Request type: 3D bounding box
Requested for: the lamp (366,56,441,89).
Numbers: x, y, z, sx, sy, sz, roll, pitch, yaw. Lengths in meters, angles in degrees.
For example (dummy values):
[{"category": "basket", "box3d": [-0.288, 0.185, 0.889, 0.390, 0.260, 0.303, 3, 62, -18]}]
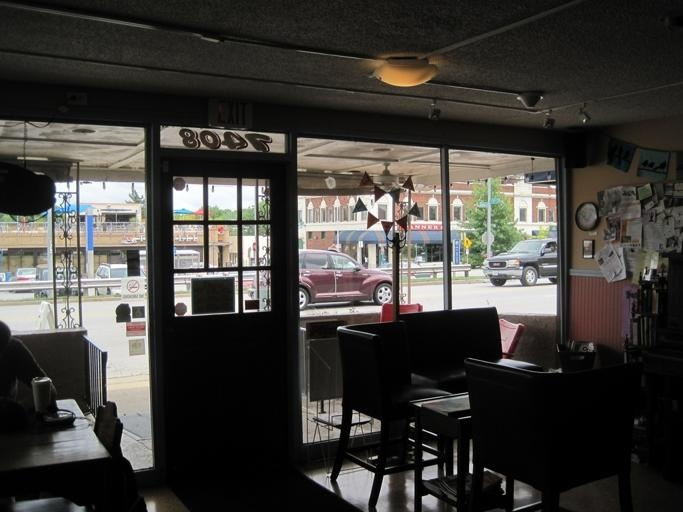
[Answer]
[{"category": "lamp", "box3d": [0.445, -1.300, 3.992, 0.430, 0.176, 0.229, 0, 11, 2]}]
